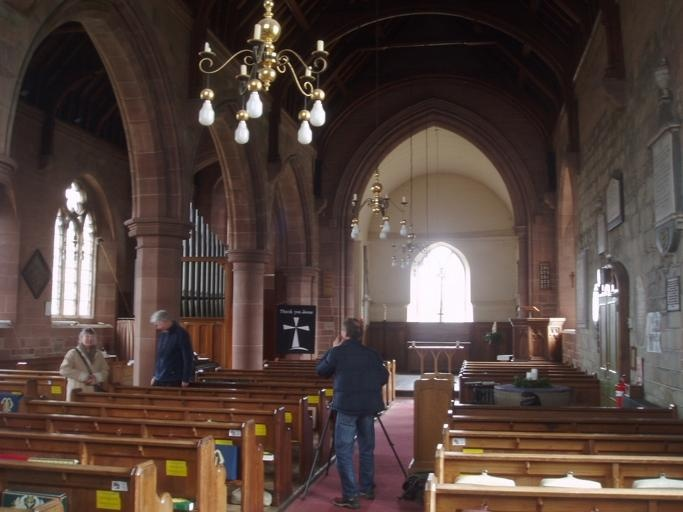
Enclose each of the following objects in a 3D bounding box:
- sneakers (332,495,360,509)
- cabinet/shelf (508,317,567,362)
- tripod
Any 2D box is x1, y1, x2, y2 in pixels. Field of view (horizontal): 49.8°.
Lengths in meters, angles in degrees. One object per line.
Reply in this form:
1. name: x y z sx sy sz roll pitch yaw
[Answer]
1. sneakers: 0.059 2.599 7.870 0.257 0.147 0.117 1 -7 19
2. cabinet/shelf: 4.186 1.894 16.135 0.983 0.842 0.921 1 -10 -8
3. tripod: 0.196 2.281 8.730 0.929 1.457 1.011 -3 -24 8
